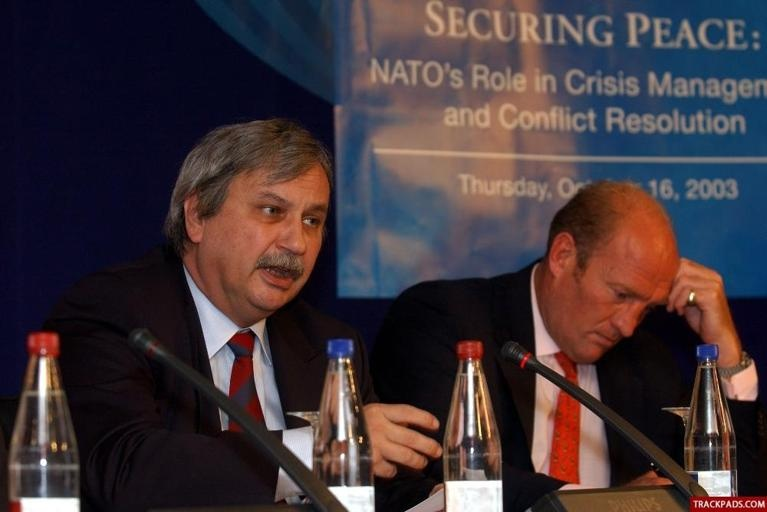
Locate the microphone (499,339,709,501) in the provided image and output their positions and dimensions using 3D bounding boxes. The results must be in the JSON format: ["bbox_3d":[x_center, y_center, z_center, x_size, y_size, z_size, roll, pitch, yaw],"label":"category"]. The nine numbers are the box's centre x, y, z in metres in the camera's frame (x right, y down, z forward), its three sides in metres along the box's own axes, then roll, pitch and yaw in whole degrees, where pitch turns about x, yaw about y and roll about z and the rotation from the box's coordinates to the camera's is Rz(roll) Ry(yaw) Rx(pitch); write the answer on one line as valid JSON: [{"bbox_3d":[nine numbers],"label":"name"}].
[{"bbox_3d":[0.770,0.610,2.939,0.961,0.114,0.113,36,29,14],"label":"microphone"}]
